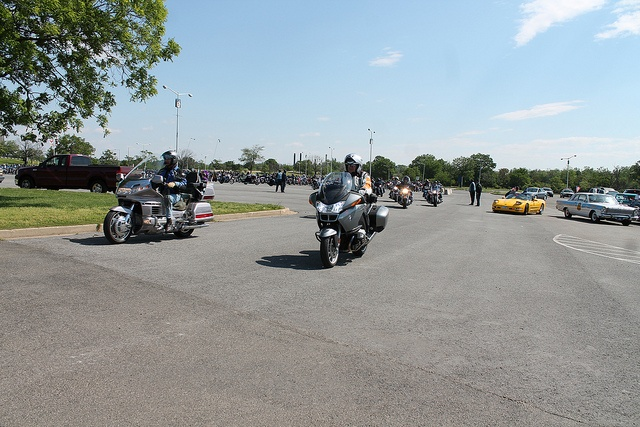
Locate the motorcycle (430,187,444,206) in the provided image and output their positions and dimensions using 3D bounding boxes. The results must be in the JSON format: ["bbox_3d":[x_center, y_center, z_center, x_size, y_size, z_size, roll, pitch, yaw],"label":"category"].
[{"bbox_3d":[8.902,-1.363,31.377,0.823,1.382,1.636,4,11,11],"label":"motorcycle"}]

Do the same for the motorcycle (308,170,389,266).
[{"bbox_3d":[0.583,0.149,9.256,1.967,2.128,0.710,-7,15,-39],"label":"motorcycle"}]

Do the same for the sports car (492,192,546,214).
[{"bbox_3d":[13.611,-0.590,27.851,4.062,1.332,1.846,-6,14,-36],"label":"sports car"}]

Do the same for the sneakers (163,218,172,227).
[{"bbox_3d":[-4.095,0.212,10.813,0.169,0.157,0.153,2,-7,-21],"label":"sneakers"}]

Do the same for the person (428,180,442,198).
[{"bbox_3d":[9.282,-1.961,32.582,1.000,1.119,2.022,-2,-4,16],"label":"person"}]

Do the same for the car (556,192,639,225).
[{"bbox_3d":[16.852,-0.345,25.234,2.006,1.355,4.539,2,2,-7],"label":"car"}]

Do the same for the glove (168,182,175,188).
[{"bbox_3d":[-3.968,-0.763,10.808,0.129,0.136,0.239,6,13,15],"label":"glove"}]

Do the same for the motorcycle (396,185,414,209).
[{"bbox_3d":[5.901,-1.141,27.919,1.004,1.073,1.960,1,-1,6],"label":"motorcycle"}]
